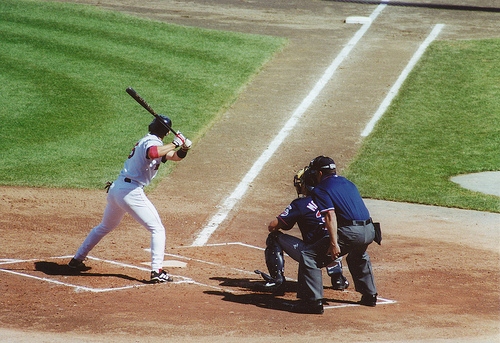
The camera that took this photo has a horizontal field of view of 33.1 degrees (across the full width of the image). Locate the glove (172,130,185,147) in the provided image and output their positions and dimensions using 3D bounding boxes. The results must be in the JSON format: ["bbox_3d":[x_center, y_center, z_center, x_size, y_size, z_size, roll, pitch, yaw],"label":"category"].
[{"bbox_3d":[-1.457,-0.665,17.068,0.257,0.280,0.121,16,3,-43],"label":"glove"}]
